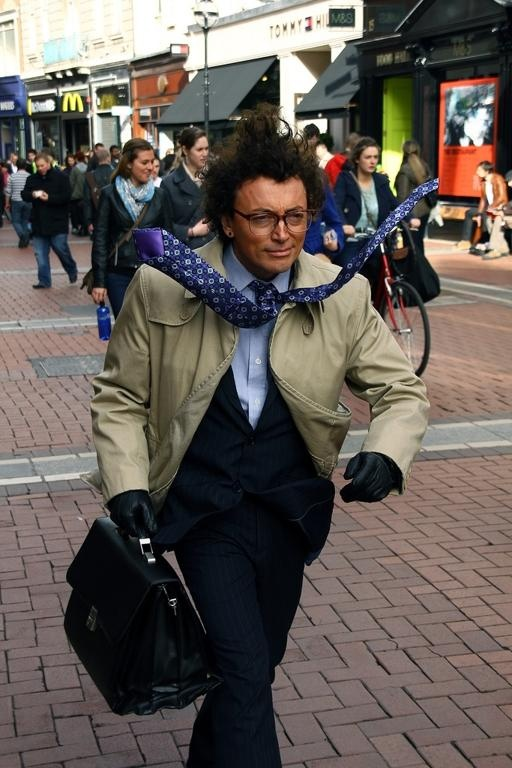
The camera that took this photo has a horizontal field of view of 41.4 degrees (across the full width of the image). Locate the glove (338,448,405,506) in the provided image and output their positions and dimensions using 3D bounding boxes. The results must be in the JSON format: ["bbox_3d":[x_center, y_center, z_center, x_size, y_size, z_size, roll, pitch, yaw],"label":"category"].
[{"bbox_3d":[0.215,0.180,1.333,0.155,0.078,0.193,-6,-3,20],"label":"glove"}]

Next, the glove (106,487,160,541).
[{"bbox_3d":[-0.233,0.249,1.268,0.035,0.102,0.075,13,48,-10],"label":"glove"}]

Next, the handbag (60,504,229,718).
[{"bbox_3d":[-0.237,0.384,1.309,0.189,0.349,0.361,-1,9,-30],"label":"handbag"}]

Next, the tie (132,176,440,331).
[{"bbox_3d":[0.052,-0.215,1.229,0.606,0.191,0.112,-2,16,44],"label":"tie"}]

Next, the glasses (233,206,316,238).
[{"bbox_3d":[0.025,-0.318,1.320,0.094,0.027,0.092,0,4,-16],"label":"glasses"}]
